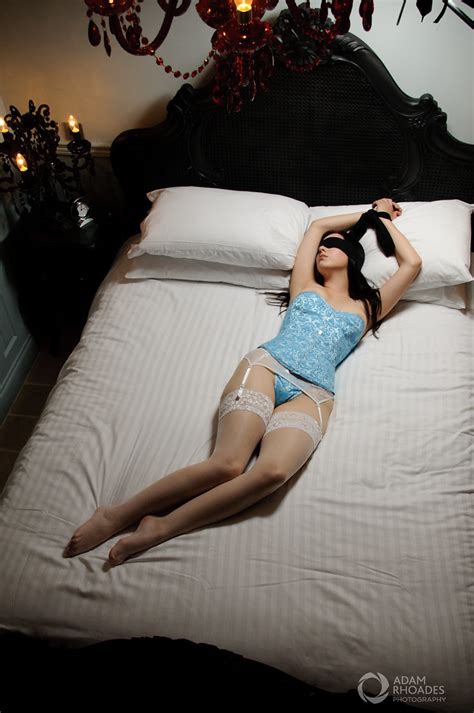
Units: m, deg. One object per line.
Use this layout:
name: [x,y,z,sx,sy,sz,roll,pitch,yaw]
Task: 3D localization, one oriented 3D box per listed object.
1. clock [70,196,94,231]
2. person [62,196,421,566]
clock: [-0.763,-0.698,2.338,0.027,0.152,0.136,9,40,28]
person: [0.214,0.056,1.725,0.600,0.404,1.724,19,46,22]
